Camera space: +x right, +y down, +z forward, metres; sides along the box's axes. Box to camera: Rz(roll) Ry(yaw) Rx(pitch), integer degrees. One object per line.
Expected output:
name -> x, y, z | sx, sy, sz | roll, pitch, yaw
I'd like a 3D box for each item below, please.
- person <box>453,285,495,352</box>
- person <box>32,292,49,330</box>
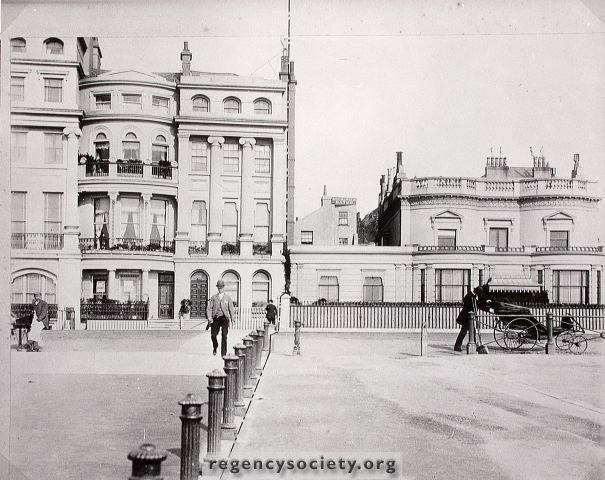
person -> 4.027, 1.766, 29.242 | 0.773, 0.466, 1.630 | -4, -43, 3
person -> -5.750, 1.518, 27.300 | 0.333, 0.777, 0.373 | 2, -3, -14
